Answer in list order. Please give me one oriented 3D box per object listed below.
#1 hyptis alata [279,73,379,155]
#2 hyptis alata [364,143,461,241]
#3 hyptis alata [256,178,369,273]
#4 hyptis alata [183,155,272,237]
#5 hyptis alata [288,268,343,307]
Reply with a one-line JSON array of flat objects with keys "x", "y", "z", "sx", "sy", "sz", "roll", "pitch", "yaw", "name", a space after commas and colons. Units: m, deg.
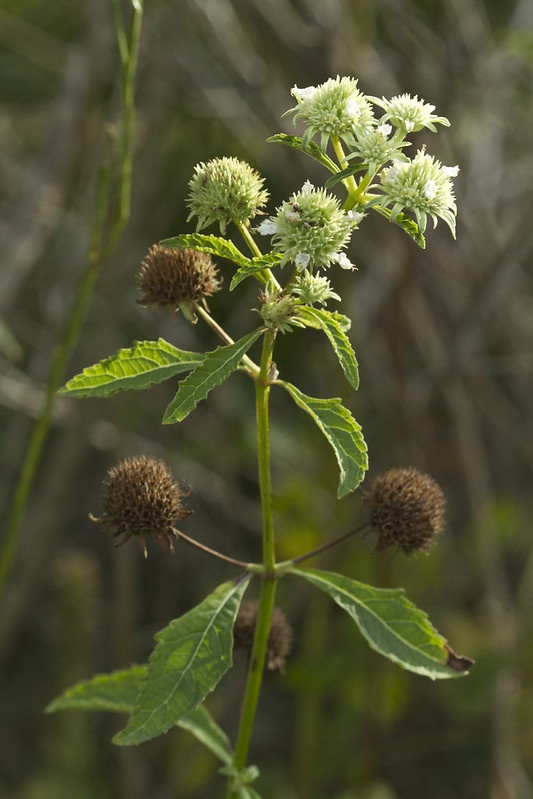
[{"x": 0.167, "y": -0.699, "z": 2.226, "sx": 0.196, "sy": 0.180, "sz": 0.184, "roll": -1, "pitch": 16, "yaw": -20, "name": "hyptis alata"}, {"x": 0.370, "y": -0.501, "z": 2.166, "sx": 0.199, "sy": 0.135, "sz": 0.208, "roll": 15, "pitch": 21, "yaw": 12, "name": "hyptis alata"}, {"x": 0.125, "y": -0.393, "z": 2.188, "sx": 0.250, "sy": 0.232, "sz": 0.243, "roll": 7, "pitch": 7, "yaw": 6, "name": "hyptis alata"}, {"x": -0.094, "y": -0.514, "z": 2.368, "sx": 0.230, "sy": 0.209, "sz": 0.220, "roll": -4, "pitch": -15, "yaw": 2, "name": "hyptis alata"}, {"x": 0.120, "y": -0.279, "z": 2.286, "sx": 0.105, "sy": 0.102, "sz": 0.233, "roll": 24, "pitch": 19, "yaw": -1, "name": "hyptis alata"}]
